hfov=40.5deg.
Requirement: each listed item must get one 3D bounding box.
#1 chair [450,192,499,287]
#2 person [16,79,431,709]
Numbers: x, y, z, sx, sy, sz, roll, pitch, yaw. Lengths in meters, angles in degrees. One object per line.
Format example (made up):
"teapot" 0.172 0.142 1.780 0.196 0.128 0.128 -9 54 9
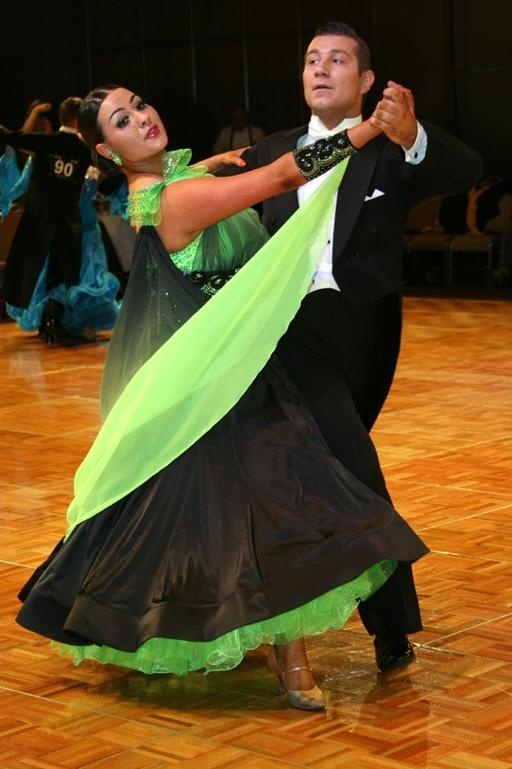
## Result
"chair" 2.623 -1.915 9.008 0.715 1.002 0.691 -4 30 -6
"person" -0.114 0.005 1.468 0.767 1.104 0.890 -12 11 -35
